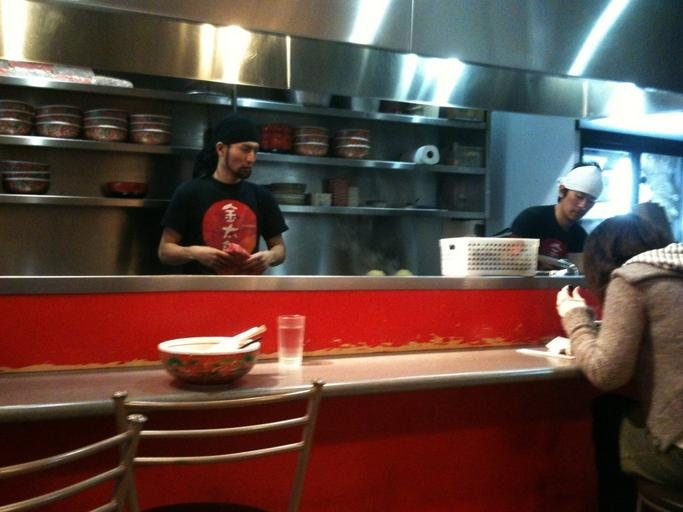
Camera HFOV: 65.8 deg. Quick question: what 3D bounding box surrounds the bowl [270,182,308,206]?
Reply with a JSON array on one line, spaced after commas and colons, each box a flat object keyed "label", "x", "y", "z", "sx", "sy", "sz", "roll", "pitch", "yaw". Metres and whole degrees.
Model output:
[{"label": "bowl", "x": -0.351, "y": -0.417, "z": 3.584, "sx": 0.199, "sy": 0.092, "sz": 0.177, "roll": 0, "pitch": 3, "yaw": 1}]

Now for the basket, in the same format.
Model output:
[{"label": "basket", "x": 0.602, "y": 0.002, "z": 2.138, "sx": 0.388, "sy": 0.165, "sz": 0.150, "roll": 2, "pitch": 8, "yaw": 8}]

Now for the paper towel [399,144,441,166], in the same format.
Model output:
[{"label": "paper towel", "x": 0.576, "y": -0.756, "z": 3.982, "sx": 0.216, "sy": 0.147, "sz": 0.335, "roll": -5, "pitch": 10, "yaw": -36}]

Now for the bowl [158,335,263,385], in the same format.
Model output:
[{"label": "bowl", "x": -0.383, "y": 0.302, "z": 1.507, "sx": 0.197, "sy": 0.062, "sz": 0.178, "roll": 0, "pitch": -3, "yaw": 7}]

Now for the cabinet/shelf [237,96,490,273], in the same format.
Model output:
[{"label": "cabinet/shelf", "x": 0.108, "y": -0.515, "z": 3.640, "sx": 1.547, "sy": 1.149, "sz": 0.416, "roll": 1, "pitch": -3, "yaw": -19}]

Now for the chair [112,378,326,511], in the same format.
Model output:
[{"label": "chair", "x": -0.334, "y": 0.475, "z": 1.404, "sx": 0.485, "sy": 0.390, "sz": 0.399, "roll": -2, "pitch": 9, "yaw": -20}]

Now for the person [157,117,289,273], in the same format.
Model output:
[{"label": "person", "x": -0.625, "y": -0.292, "z": 2.830, "sx": 0.682, "sy": 0.907, "sz": 1.411, "roll": -1, "pitch": 8, "yaw": -11}]

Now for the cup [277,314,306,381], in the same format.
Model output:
[{"label": "cup", "x": -0.165, "y": 0.280, "z": 1.723, "sx": 0.098, "sy": 0.181, "sz": 0.295, "roll": 0, "pitch": 8, "yaw": -5}]

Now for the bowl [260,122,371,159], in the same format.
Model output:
[{"label": "bowl", "x": -0.187, "y": -0.781, "z": 3.646, "sx": 0.548, "sy": 0.142, "sz": 0.322, "roll": -1, "pitch": 1, "yaw": -9}]

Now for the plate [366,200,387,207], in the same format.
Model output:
[{"label": "plate", "x": 0.262, "y": -0.392, "z": 3.914, "sx": 0.151, "sy": 0.047, "sz": 0.121, "roll": 0, "pitch": 8, "yaw": -7}]
